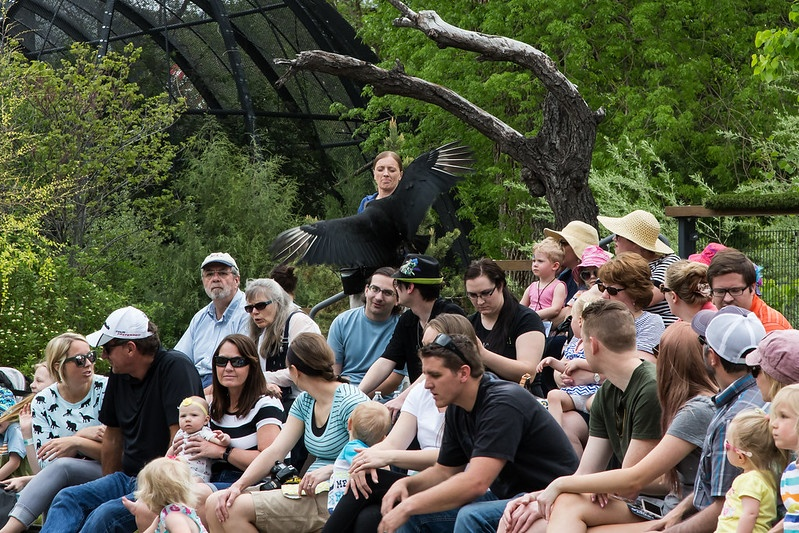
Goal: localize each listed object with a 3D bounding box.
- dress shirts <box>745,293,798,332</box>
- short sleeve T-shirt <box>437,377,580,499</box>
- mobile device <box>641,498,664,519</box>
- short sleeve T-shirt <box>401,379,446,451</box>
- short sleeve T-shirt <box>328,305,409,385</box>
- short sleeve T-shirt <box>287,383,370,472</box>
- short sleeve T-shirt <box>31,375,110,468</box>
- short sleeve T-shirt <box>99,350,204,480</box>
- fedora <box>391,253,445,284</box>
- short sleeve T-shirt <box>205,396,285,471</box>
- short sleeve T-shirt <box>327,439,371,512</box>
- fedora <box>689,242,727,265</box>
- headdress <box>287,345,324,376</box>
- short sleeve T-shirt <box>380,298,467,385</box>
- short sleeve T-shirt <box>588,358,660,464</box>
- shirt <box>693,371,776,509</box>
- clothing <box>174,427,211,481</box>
[{"bbox_3d":[3.766,0.489,10.427,0.383,0.474,0.618,-4,-14,5],"label":"dress shirts"},{"bbox_3d":[0.935,1.683,9.177,1.342,1.324,1.252,0,-9,11],"label":"short sleeve T-shirt"},{"bbox_3d":[2.209,2.179,8.878,0.197,0.015,0.137,19,16,-30],"label":"mobile device"},{"bbox_3d":[0.234,1.454,9.584,0.660,0.654,0.373,-6,-11,9],"label":"short sleeve T-shirt"},{"bbox_3d":[-0.323,1.000,11.738,1.056,0.985,0.576,4,19,-2],"label":"short sleeve T-shirt"},{"bbox_3d":[-0.679,1.712,10.067,0.914,0.959,0.566,-10,-12,44],"label":"short sleeve T-shirt"},{"bbox_3d":[-3.779,1.904,11.449,0.622,1.082,1.153,-5,-8,3],"label":"short sleeve T-shirt"},{"bbox_3d":[-2.551,1.585,10.445,1.229,1.202,0.624,2,-12,33],"label":"short sleeve T-shirt"},{"bbox_3d":[0.200,0.030,10.603,0.399,0.200,0.298,8,-1,4],"label":"fedora"},{"bbox_3d":[-1.617,1.737,10.499,0.920,0.884,0.521,-2,9,30],"label":"short sleeve T-shirt"},{"bbox_3d":[-0.463,2.017,9.423,0.271,0.531,0.427,15,-39,9],"label":"short sleeve T-shirt"},{"bbox_3d":[3.266,-0.176,10.845,0.426,0.223,0.275,16,4,-10],"label":"fedora"},{"bbox_3d":[-0.961,0.981,9.963,0.318,0.129,0.264,33,-3,27],"label":"headdress"},{"bbox_3d":[0.272,0.846,10.752,0.862,0.863,0.478,12,20,37],"label":"short sleeve T-shirt"},{"bbox_3d":[1.986,1.342,9.028,0.661,0.732,0.415,-9,-3,40],"label":"short sleeve T-shirt"},{"bbox_3d":[2.744,1.476,8.237,0.456,1.007,1.122,5,4,17],"label":"shirt"},{"bbox_3d":[-2.045,1.937,10.099,0.378,0.558,0.408,-1,-2,-13],"label":"clothing"}]
